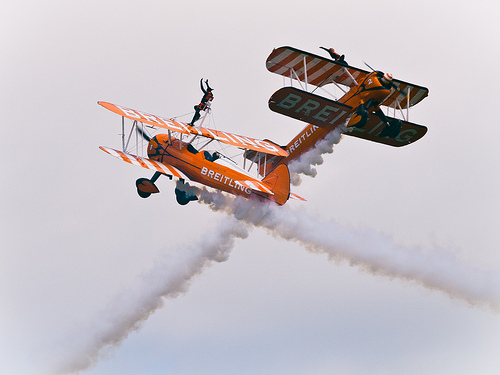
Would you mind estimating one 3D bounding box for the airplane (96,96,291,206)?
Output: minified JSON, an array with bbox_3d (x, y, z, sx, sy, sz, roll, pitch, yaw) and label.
[{"bbox_3d":[-1.484,-0.579,26.081,5.261,5.848,2.286,16,-94,-13],"label":"airplane"}]
